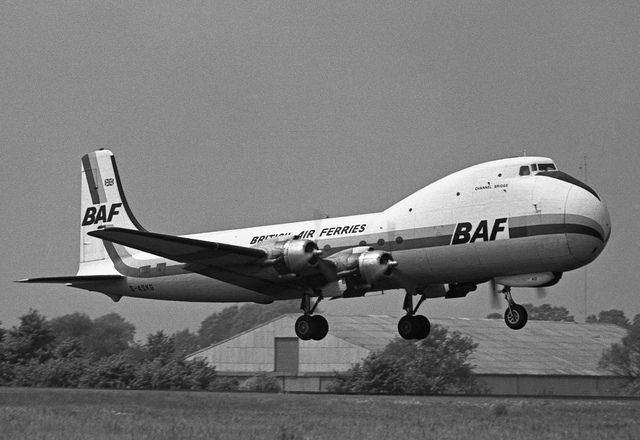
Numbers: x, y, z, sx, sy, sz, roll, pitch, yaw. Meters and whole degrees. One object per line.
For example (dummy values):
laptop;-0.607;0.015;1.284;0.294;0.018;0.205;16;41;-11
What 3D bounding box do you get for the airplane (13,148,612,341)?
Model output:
airplane;0.215;0.545;60.968;24.877;9.185;6.683;-1;-10;8
